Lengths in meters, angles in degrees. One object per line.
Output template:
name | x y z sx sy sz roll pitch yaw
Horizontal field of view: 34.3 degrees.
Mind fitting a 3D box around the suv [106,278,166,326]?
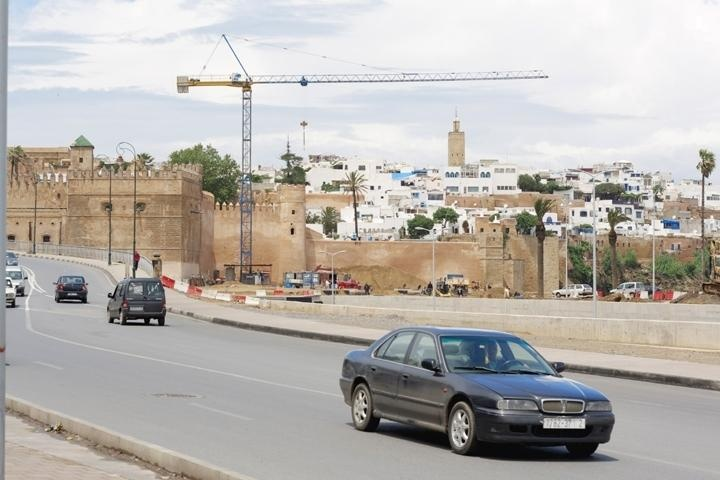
suv | -9.587 2.569 49.722 2.260 1.615 3.896 1 -1 -17

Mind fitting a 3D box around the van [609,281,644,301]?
van | 21.041 3.977 91.677 1.415 1.284 2.567 0 6 -19

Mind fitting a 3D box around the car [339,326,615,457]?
car | 2.462 3.395 26.664 2.981 2.582 7.955 1 -2 -21
